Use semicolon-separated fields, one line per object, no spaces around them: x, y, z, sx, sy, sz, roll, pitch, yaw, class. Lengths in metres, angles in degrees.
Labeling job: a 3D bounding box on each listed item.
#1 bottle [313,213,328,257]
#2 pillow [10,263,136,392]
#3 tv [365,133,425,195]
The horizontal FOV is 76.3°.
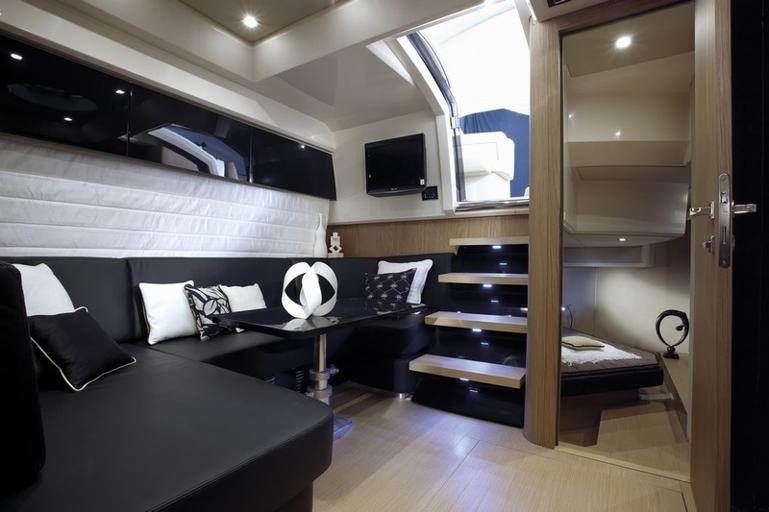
-0.745;-0.238;5.560;0.151;0.481;0.376;-3;4;-5;bottle
-1.924;0.405;2.935;0.179;0.744;0.759;-29;-5;5;pillow
0.135;-0.950;5.144;0.664;0.570;0.223;-1;-1;30;tv
